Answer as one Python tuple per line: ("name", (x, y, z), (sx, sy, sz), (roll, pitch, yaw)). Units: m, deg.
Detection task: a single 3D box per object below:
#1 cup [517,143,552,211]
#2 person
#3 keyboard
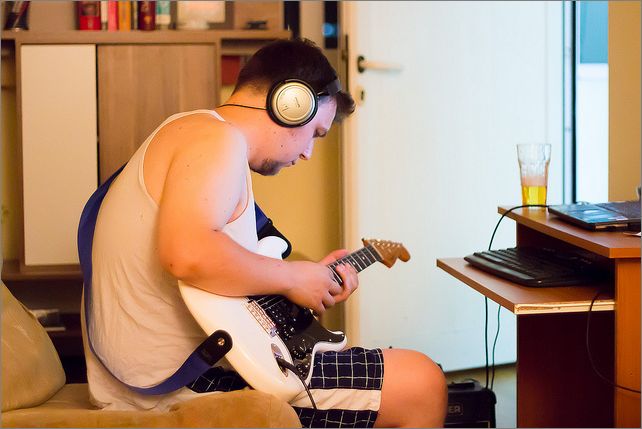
("cup", (0.876, -0.163, 2.777), (0.132, 0.246, 0.118), (0, 8, -9))
("person", (-0.286, 0.004, 2.974), (1.449, 2.069, 0.866), (-3, 9, -22))
("keyboard", (0.781, 0.189, 2.520), (0.300, 0.088, 0.454), (-2, 10, -24))
